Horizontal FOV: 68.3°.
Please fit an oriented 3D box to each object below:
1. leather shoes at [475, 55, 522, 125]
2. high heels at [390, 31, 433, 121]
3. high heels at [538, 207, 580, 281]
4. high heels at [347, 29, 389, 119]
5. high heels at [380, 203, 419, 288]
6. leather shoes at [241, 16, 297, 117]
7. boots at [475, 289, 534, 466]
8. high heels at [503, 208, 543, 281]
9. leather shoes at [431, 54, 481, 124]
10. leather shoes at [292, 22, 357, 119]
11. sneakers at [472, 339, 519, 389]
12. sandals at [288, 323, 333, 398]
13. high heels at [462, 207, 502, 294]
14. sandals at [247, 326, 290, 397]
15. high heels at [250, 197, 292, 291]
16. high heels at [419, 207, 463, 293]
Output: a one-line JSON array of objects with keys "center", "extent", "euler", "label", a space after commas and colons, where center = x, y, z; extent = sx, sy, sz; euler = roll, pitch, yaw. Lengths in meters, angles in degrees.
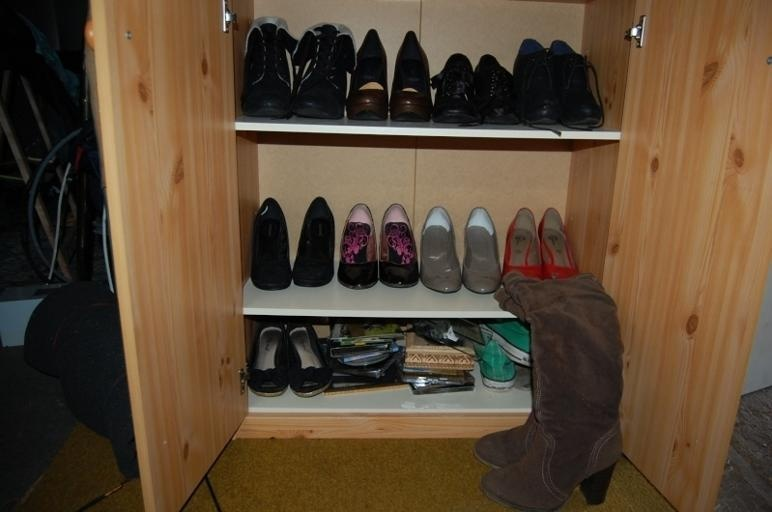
[{"center": [0.371, -0.562, 1.935], "extent": [0.101, 0.100, 0.274], "euler": [-4, 44, -2], "label": "leather shoes"}, {"center": [0.097, -0.611, 1.918], "extent": [0.117, 0.137, 0.353], "euler": [0, 50, 6], "label": "high heels"}, {"center": [0.613, -0.037, 2.046], "extent": [0.102, 0.077, 0.282], "euler": [-12, 61, 15], "label": "high heels"}, {"center": [-0.036, -0.611, 1.940], "extent": [0.120, 0.150, 0.359], "euler": [2, 55, 4], "label": "high heels"}, {"center": [0.036, -0.025, 2.084], "extent": [0.129, 0.073, 0.306], "euler": [-4, 75, 4], "label": "high heels"}, {"center": [-0.389, -0.602, 1.879], "extent": [0.147, 0.147, 0.375], "euler": [-2, 59, -8], "label": "leather shoes"}, {"center": [0.364, 0.429, 2.019], "extent": [0.173, 0.229, 0.578], "euler": [-1, 40, 6], "label": "boots"}, {"center": [0.506, -0.045, 2.119], "extent": [0.111, 0.085, 0.310], "euler": [-3, 63, 17], "label": "high heels"}, {"center": [0.233, -0.567, 1.924], "extent": [0.124, 0.098, 0.269], "euler": [2, 43, 8], "label": "leather shoes"}, {"center": [-0.213, -0.641, 1.969], "extent": [0.177, 0.159, 0.386], "euler": [2, 61, 0], "label": "leather shoes"}, {"center": [0.401, 0.382, 2.114], "extent": [0.144, 0.108, 0.275], "euler": [0, 24, -7], "label": "sneakers"}, {"center": [-0.300, 0.365, 2.113], "extent": [0.140, 0.055, 0.481], "euler": [-3, 24, -12], "label": "sandals"}, {"center": [0.362, 0.016, 2.163], "extent": [0.148, 0.406, 0.109], "euler": [6, 53, 19], "label": "high heels"}, {"center": [-0.432, 0.374, 2.072], "extent": [0.137, 0.097, 0.375], "euler": [-5, 24, -9], "label": "sandals"}, {"center": [-0.426, -0.031, 2.078], "extent": [0.140, 0.070, 0.353], "euler": [0, 79, -16], "label": "high heels"}, {"center": [0.197, -0.039, 2.086], "extent": [0.126, 0.134, 0.337], "euler": [-4, 45, 6], "label": "high heels"}]
